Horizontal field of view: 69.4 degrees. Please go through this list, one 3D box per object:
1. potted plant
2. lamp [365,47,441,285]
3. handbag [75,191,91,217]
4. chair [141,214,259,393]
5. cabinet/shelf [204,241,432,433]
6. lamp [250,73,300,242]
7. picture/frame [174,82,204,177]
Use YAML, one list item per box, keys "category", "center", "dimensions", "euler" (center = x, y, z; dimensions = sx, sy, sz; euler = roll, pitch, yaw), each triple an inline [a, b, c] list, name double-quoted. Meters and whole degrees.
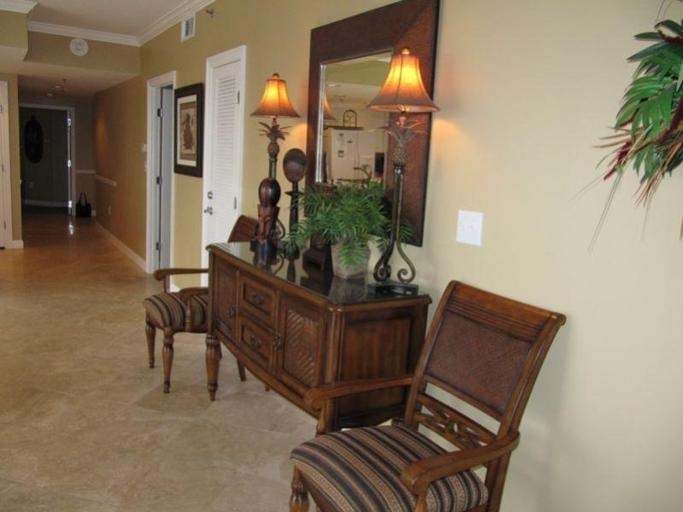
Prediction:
- category: "potted plant"
  center: [-0.030, -0.147, 2.738]
  dimensions: [0.442, 0.420, 0.506]
  euler: [1, 2, -26]
- category: "lamp"
  center: [0.296, -0.449, 2.501]
  dimensions: [0.329, 1.210, 0.442]
  euler: [5, 13, 10]
- category: "handbag"
  center: [-6.051, -1.201, 11.541]
  dimensions: [0.317, 0.584, 0.260]
  euler: [-5, 15, -31]
- category: "chair"
  center: [-1.106, 0.331, 3.913]
  dimensions: [0.901, 1.282, 0.863]
  euler: [-1, 11, -18]
- category: "cabinet/shelf"
  center: [-0.307, 0.597, 2.991]
  dimensions: [0.580, 1.133, 1.590]
  euler: [-1, 12, -34]
- category: "lamp"
  center: [-0.468, -0.729, 3.525]
  dimensions: [0.318, 1.166, 0.811]
  euler: [1, 13, -8]
- category: "picture/frame"
  center: [-1.614, -1.359, 5.250]
  dimensions: [0.036, 1.136, 1.067]
  euler: [-2, 4, -30]
